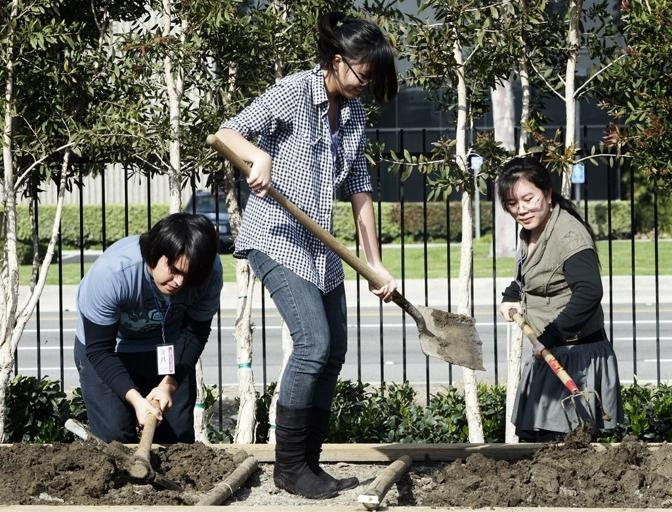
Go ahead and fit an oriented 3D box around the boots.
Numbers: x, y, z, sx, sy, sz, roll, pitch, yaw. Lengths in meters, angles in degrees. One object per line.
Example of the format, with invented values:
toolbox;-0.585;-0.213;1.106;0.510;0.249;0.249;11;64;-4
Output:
boots;-0.208;1.364;9.449;0.671;0.810;0.469;-1;-1;4

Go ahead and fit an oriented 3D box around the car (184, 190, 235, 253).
car;-2.586;-0.783;25.632;1.219;1.254;2.274;0;6;-12

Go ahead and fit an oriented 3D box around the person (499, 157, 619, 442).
person;1.634;0.321;10.031;0.893;2.106;0.648;-1;-2;13

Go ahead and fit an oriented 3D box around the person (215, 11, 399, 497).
person;-0.171;-0.001;9.509;1.147;3.354;0.736;0;-2;-6

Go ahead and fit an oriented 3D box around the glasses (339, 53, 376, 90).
glasses;0.145;-1.274;9.310;0.055;0.201;0.188;-26;-9;15

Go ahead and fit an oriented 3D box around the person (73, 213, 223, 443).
person;-1.341;0.549;9.896;1.226;1.661;0.934;-1;-2;15
